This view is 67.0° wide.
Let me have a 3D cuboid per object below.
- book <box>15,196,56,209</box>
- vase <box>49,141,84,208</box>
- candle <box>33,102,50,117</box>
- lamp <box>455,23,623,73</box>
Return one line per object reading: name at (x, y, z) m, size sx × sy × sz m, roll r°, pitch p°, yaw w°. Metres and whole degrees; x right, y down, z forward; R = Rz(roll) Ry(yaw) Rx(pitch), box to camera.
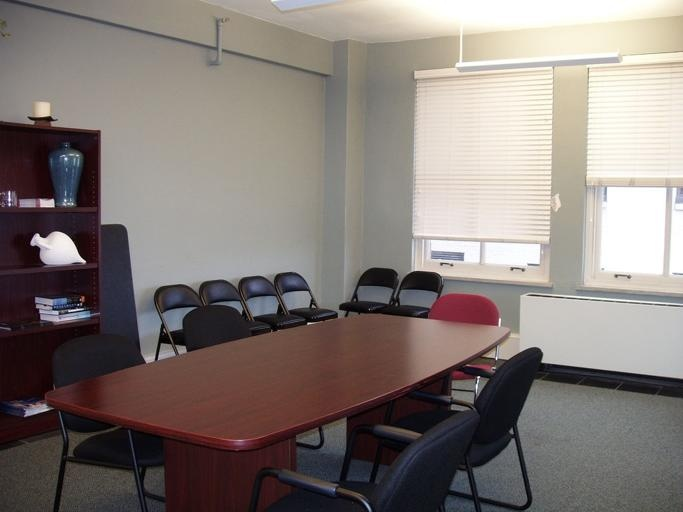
book at (-2.324, -0.404, 3.935) m, size 0.245 × 0.068 × 0.302 m, roll -3°, pitch 7°, yaw -30°
vase at (-2.148, -0.608, 4.040) m, size 0.242 × 0.439 × 0.116 m, roll -3°, pitch 8°, yaw -29°
candle at (-2.295, -1.114, 3.949) m, size 0.107 × 0.135 × 0.150 m, roll -4°, pitch 8°, yaw -36°
lamp at (1.919, -1.919, 5.114) m, size 1.489 × 0.123 × 0.339 m, roll 4°, pitch 7°, yaw 27°
